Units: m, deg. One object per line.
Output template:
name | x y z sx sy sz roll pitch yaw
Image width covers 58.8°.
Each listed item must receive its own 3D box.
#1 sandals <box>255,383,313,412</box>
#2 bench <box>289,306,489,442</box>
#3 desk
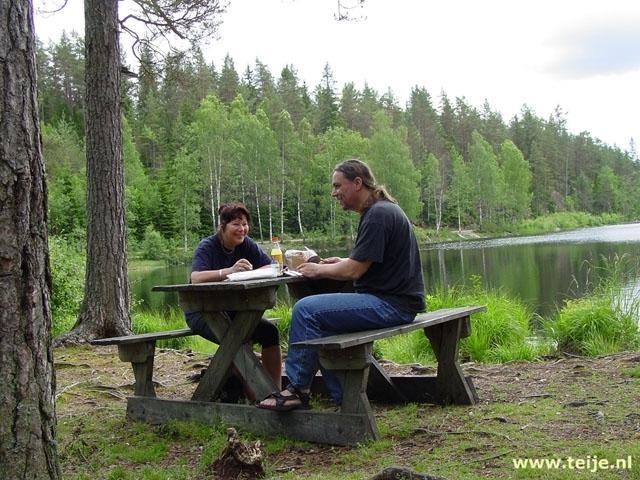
sandals | -0.273 1.225 4.386 0.317 0.161 0.208 2 -7 3
bench | 0.499 1.087 4.672 1.866 0.865 0.776 -2 1 -43
desk | -0.723 0.874 5.116 0.762 1.055 1.406 -3 2 0
